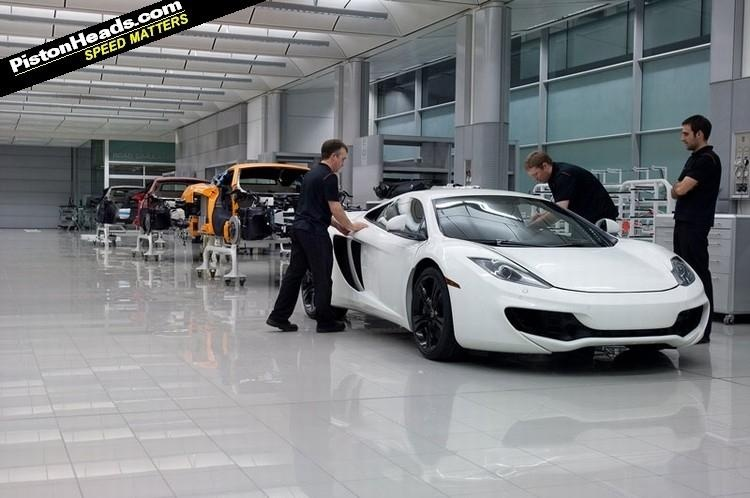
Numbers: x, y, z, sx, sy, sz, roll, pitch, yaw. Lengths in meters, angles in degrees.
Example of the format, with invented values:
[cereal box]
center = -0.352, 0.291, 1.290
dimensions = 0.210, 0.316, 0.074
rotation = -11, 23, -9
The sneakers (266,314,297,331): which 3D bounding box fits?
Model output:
[sneakers]
center = -1.051, 0.853, 6.082
dimensions = 0.385, 0.174, 0.151
rotation = 22, 1, -14
